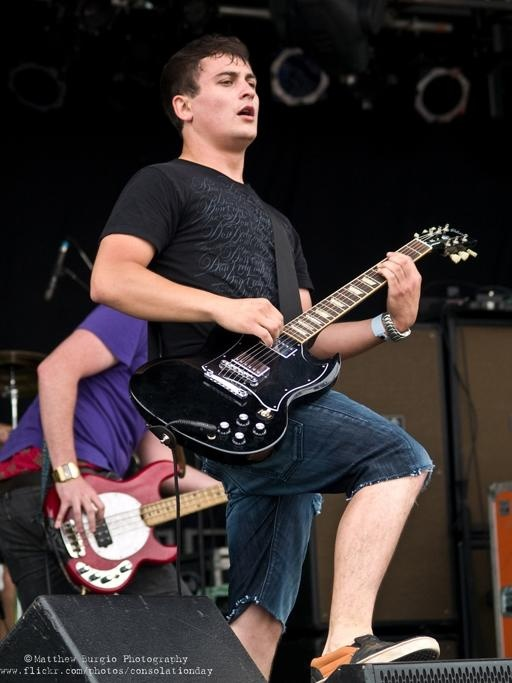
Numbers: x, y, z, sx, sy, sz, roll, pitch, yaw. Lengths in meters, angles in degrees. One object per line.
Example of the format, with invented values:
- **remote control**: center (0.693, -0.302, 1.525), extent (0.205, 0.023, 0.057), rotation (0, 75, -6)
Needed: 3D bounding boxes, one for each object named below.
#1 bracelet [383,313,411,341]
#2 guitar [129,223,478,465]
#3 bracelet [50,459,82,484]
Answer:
- **bracelet**: center (0.393, -0.045, 2.419), extent (0.093, 0.064, 0.035), rotation (27, 40, 34)
- **guitar**: center (0.192, -0.060, 2.221), extent (1.096, 0.117, 0.376), rotation (-38, 59, -25)
- **bracelet**: center (-0.565, 0.394, 2.499), extent (0.091, 0.048, 0.081), rotation (-15, -14, 40)
